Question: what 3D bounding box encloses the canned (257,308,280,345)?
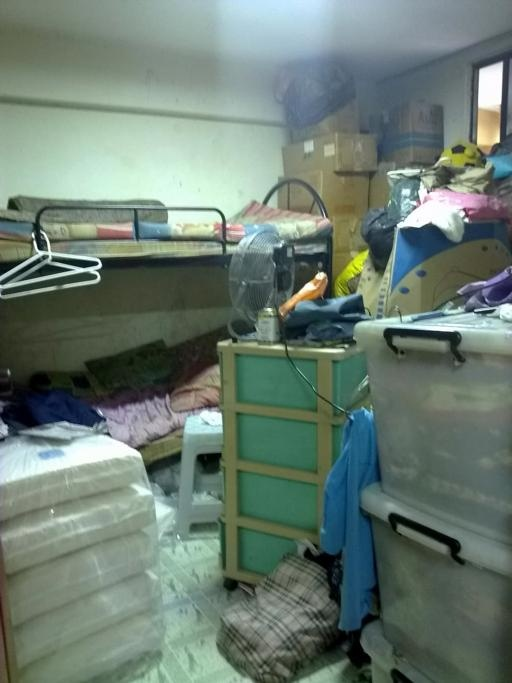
[{"bbox_3d":[0.042,-0.057,1.914,0.099,0.200,0.110,0,6,-6],"label":"canned"}]
